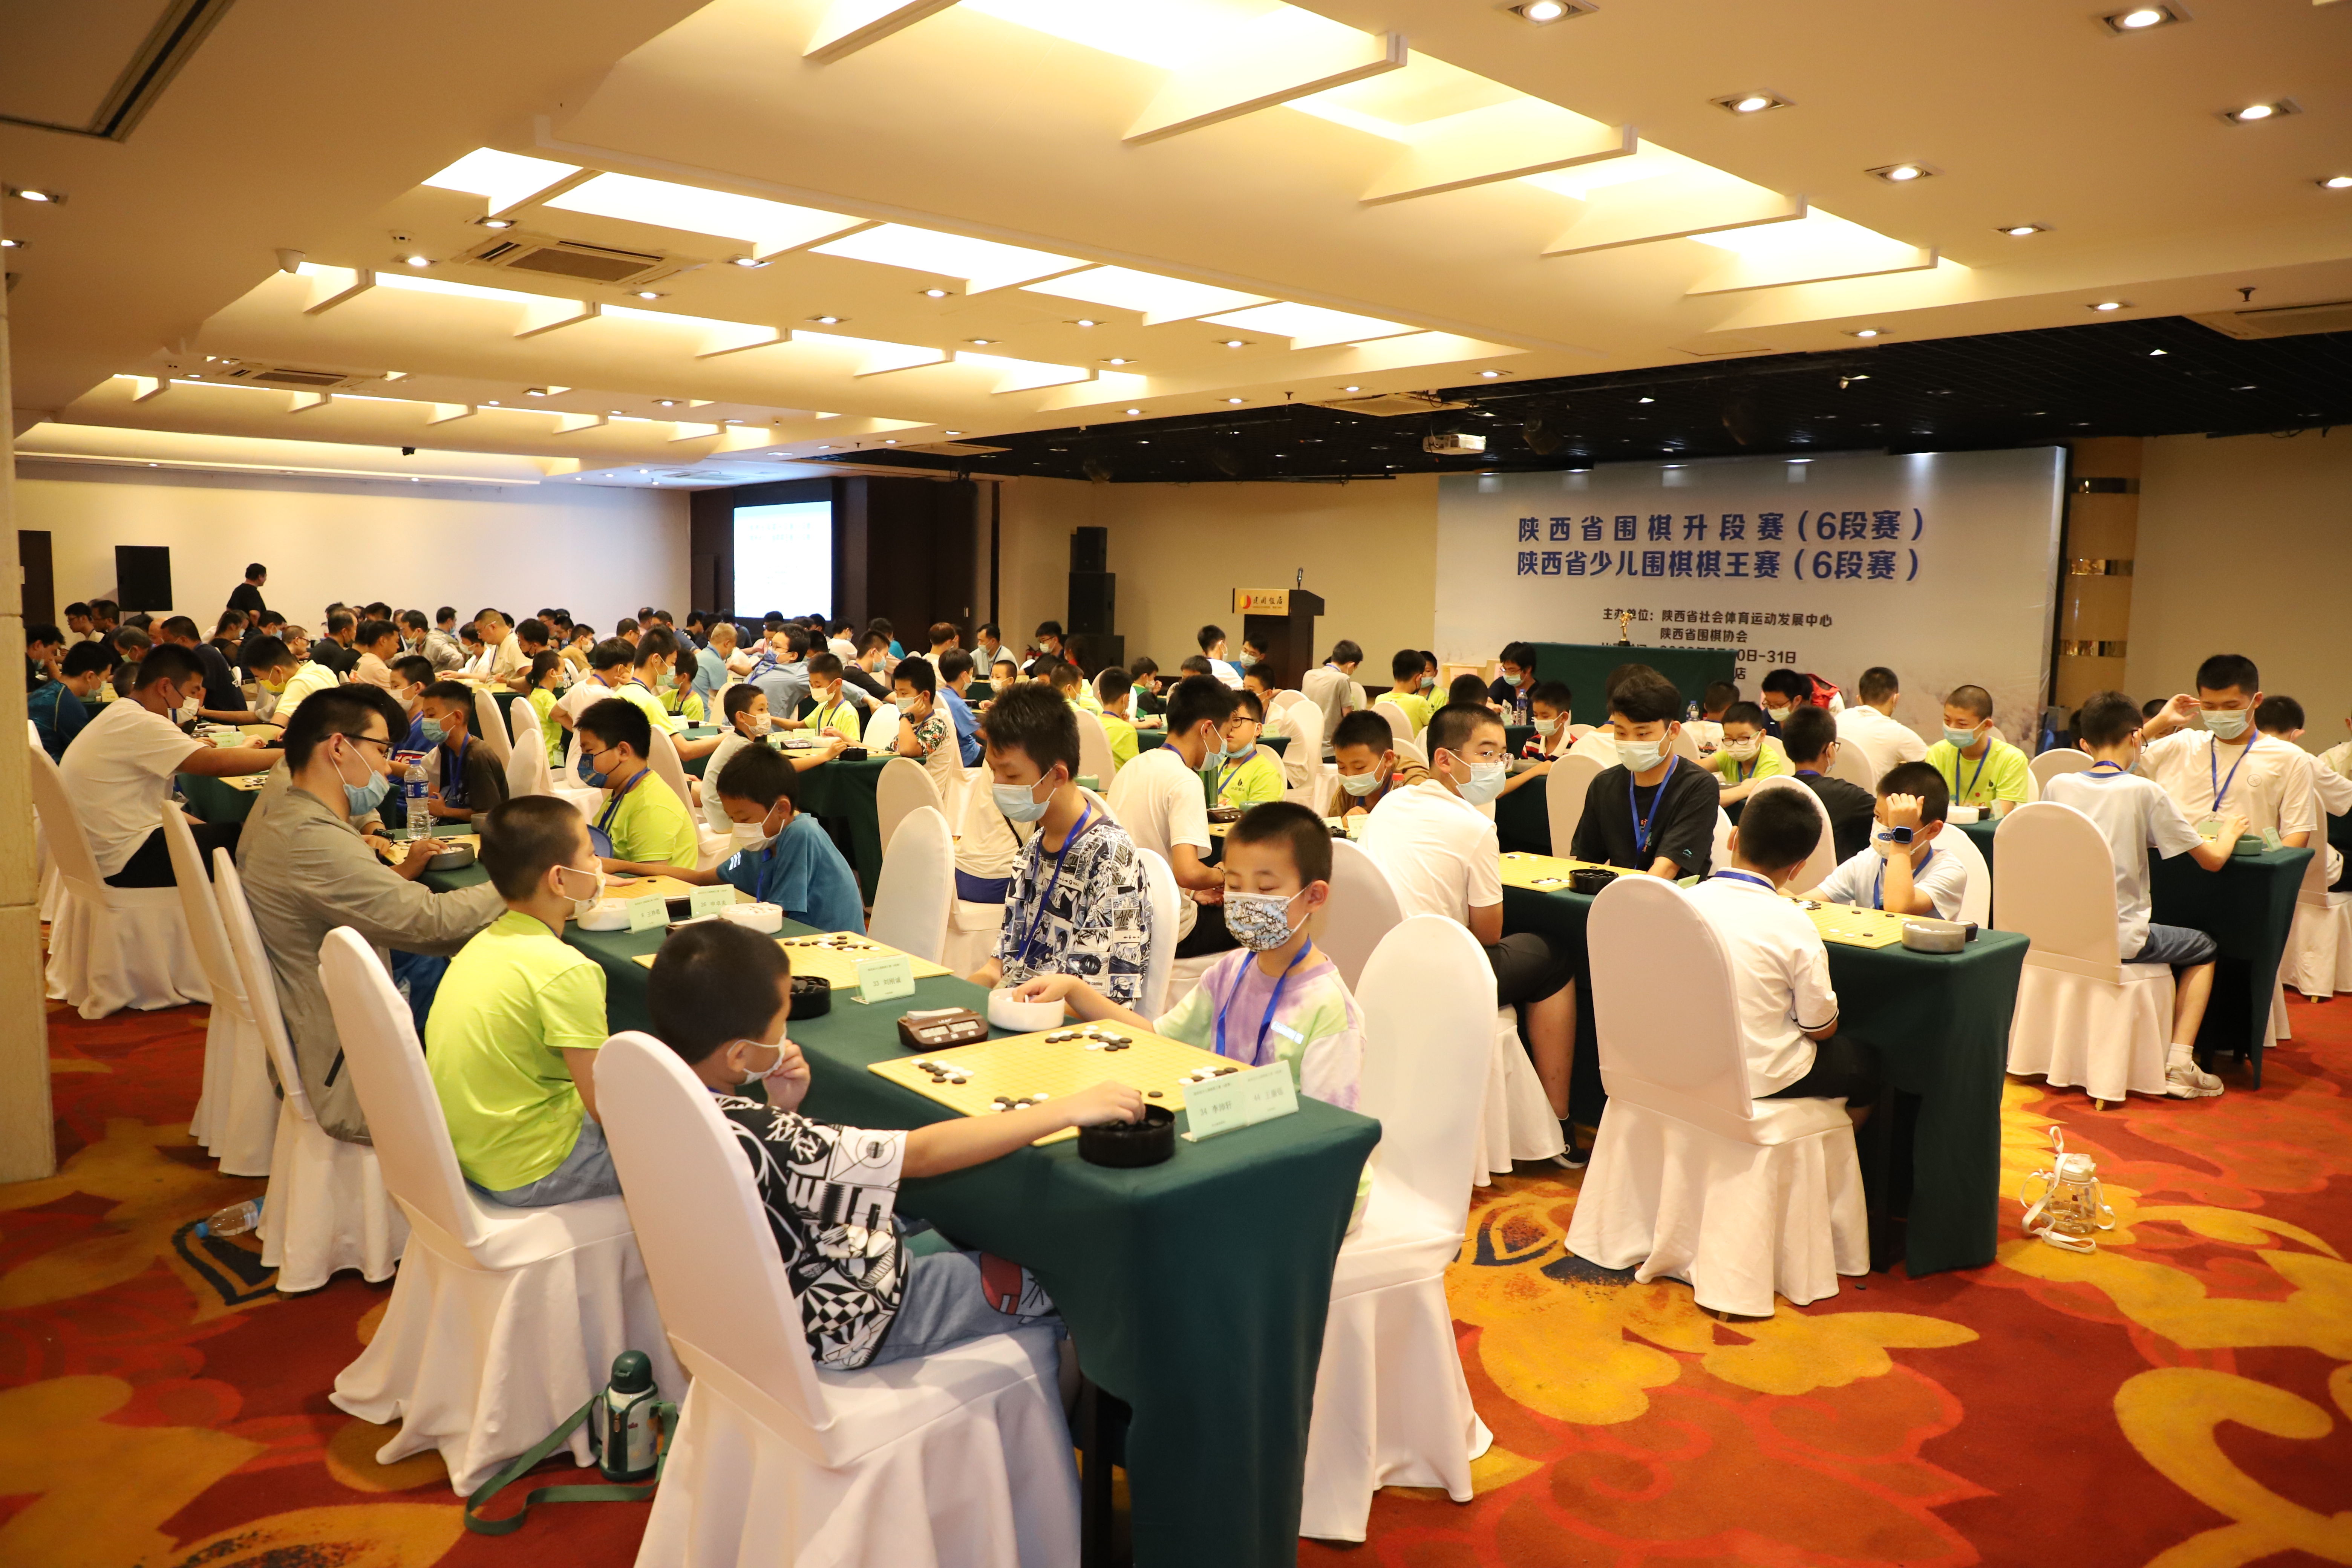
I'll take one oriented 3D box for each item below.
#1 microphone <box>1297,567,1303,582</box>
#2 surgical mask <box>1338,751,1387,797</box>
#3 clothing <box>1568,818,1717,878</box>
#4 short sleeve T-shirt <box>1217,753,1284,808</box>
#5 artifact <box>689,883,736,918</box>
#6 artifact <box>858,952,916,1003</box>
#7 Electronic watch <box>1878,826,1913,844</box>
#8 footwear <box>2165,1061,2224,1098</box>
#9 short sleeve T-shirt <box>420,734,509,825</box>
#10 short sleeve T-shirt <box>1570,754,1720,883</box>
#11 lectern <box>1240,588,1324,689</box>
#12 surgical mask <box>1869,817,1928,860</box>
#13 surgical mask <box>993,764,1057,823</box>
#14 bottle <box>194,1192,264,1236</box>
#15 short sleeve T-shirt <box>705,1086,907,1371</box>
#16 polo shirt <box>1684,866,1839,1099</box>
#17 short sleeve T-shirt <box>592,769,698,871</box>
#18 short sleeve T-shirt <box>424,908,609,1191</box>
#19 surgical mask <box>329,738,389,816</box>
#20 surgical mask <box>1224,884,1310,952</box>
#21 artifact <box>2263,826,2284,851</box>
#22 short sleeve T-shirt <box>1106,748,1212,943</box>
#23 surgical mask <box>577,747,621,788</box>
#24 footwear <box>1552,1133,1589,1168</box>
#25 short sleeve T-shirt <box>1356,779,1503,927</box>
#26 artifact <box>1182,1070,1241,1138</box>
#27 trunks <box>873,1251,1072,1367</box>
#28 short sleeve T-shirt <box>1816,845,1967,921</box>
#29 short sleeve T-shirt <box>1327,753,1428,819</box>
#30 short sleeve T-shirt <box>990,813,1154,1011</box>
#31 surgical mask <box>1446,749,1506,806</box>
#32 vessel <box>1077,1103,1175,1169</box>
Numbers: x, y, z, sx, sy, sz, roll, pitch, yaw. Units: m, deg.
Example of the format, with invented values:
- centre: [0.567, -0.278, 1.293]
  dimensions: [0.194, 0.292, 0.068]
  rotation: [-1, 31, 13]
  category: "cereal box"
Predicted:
- centre: [1.352, -2.257, 17.258]
  dimensions: [0.054, 0.183, 0.081]
  rotation: [2, 3, 5]
  category: "microphone"
- centre: [0.710, -0.065, 6.093]
  dimensions: [0.161, 0.151, 0.190]
  rotation: [1, 35, 33]
  category: "surgical mask"
- centre: [1.805, 0.238, 6.065]
  dimensions: [0.234, 0.312, 0.418]
  rotation: [1, 0, -34]
  category: "clothing"
- centre: [0.320, -0.006, 6.806]
  dimensions: [0.121, 0.167, 0.216]
  rotation: [40, -21, -25]
  category: "short sleeve T-shirt"
- centre: [-1.445, 0.364, 4.893]
  dimensions: [0.115, 0.027, 0.112]
  rotation: [-5, 10, -30]
  category: "artifact"
- centre: [-0.786, 0.536, 4.280]
  dimensions: [0.113, 0.078, 0.042]
  rotation: [-6, -9, -33]
  category: "artifact"
- centre: [2.584, 0.186, 5.659]
  dimensions: [0.087, 0.055, 0.087]
  rotation: [9, -2, -44]
  category: "Electronic watch"
- centre: [4.125, 1.191, 6.389]
  dimensions: [0.246, 0.128, 0.134]
  rotation: [-3, 6, -8]
  category: "footwear"
- centre: [-2.974, -0.003, 6.564]
  dimensions: [0.366, 0.272, 0.202]
  rotation: [-2, 10, 32]
  category: "short sleeve T-shirt"
- centre: [1.810, 0.136, 6.128]
  dimensions: [0.412, 0.546, 0.671]
  rotation: [4, 1, -39]
  category: "short sleeve T-shirt"
- centre: [1.109, -1.429, 16.023]
  dimensions: [0.566, 1.040, 0.542]
  rotation: [-8, 12, -38]
  category: "lectern"
- centre: [2.644, 0.210, 5.729]
  dimensions: [0.105, 0.145, 0.187]
  rotation: [-33, -44, 26]
  category: "surgical mask"
- centre: [-0.425, 0.034, 4.478]
  dimensions: [0.135, 0.098, 0.133]
  rotation: [-19, 14, -26]
  category: "surgical mask"
- centre: [-3.030, 1.403, 5.083]
  dimensions: [0.192, 0.075, 0.121]
  rotation: [-26, 50, -28]
  category: "bottle"
- centre: [-0.776, 1.087, 3.637]
  dimensions: [0.257, 0.460, 0.489]
  rotation: [-18, -7, -17]
  category: "short sleeve T-shirt"
- centre: [1.767, 0.636, 4.784]
  dimensions: [0.291, 0.562, 0.530]
  rotation: [-30, 28, -24]
  category: "polo shirt"
- centre: [-1.963, 0.118, 5.822]
  dimensions: [0.310, 0.386, 0.515]
  rotation: [-9, 28, -29]
  category: "short sleeve T-shirt"
- centre: [-1.703, 0.725, 4.094]
  dimensions: [0.355, 0.678, 0.632]
  rotation: [-11, 14, -42]
  category: "short sleeve T-shirt"
- centre: [-2.603, 0.002, 5.084]
  dimensions: [0.205, 0.240, 0.159]
  rotation: [-1, -13, -3]
  category: "surgical mask"
- centre: [0.231, 0.336, 3.996]
  dimensions: [0.161, 0.133, 0.159]
  rotation: [-5, 3, -41]
  category: "surgical mask"
- centre: [4.777, 0.249, 6.859]
  dimensions: [0.059, 0.079, 0.024]
  rotation: [0, -36, -13]
  category: "artifact"
- centre: [-0.077, 0.211, 6.285]
  dimensions: [0.279, 0.708, 0.678]
  rotation: [-4, 10, -29]
  category: "short sleeve T-shirt"
- centre: [-2.353, -0.056, 6.442]
  dimensions: [0.217, 0.155, 0.218]
  rotation: [2, 4, -23]
  category: "surgical mask"
- centre: [1.450, 1.348, 5.757]
  dimensions: [0.069, 0.144, 0.200]
  rotation: [1, -4, 32]
  category: "footwear"
- centre: [0.867, 0.254, 5.365]
  dimensions: [0.442, 0.400, 0.245]
  rotation: [14, 16, 38]
  category: "short sleeve T-shirt"
- centre: [0.084, 0.731, 3.552]
  dimensions: [0.119, 0.094, 0.039]
  rotation: [-13, 12, -30]
  category: "artifact"
- centre: [-0.474, 1.237, 3.624]
  dimensions: [0.353, 0.185, 0.225]
  rotation: [23, -34, -30]
  category: "trunks"
- centre: [2.655, 0.340, 5.866]
  dimensions: [0.466, 0.277, 0.481]
  rotation: [-9, 4, -20]
  category: "short sleeve T-shirt"
- centre: [0.762, -0.025, 6.201]
  dimensions: [0.322, 0.169, 0.328]
  rotation: [2, -4, 40]
  category: "short sleeve T-shirt"
- centre: [-0.280, 0.381, 4.485]
  dimensions: [0.571, 0.532, 0.315]
  rotation: [1, 1, 40]
  category: "short sleeve T-shirt"
- centre: [1.155, -0.009, 6.013]
  dimensions: [0.179, 0.152, 0.181]
  rotation: [2, 6, 20]
  category: "surgical mask"
- centre: [-0.085, 0.788, 3.495]
  dimensions: [0.238, 0.086, 0.152]
  rotation: [-3, 7, -38]
  category: "vessel"
